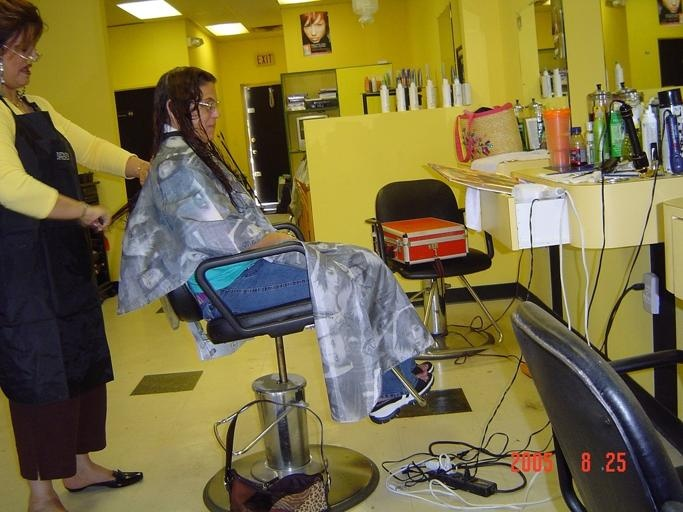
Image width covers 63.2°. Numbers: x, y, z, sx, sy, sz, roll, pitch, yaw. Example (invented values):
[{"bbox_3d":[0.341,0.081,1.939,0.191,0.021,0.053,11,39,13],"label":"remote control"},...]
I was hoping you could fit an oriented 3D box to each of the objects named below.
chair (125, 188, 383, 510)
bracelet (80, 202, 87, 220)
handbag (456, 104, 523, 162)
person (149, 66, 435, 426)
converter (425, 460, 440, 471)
[{"bbox_3d":[-0.213,0.402,2.732,1.033,1.696,1.036,-2,9,-3],"label":"chair"},{"bbox_3d":[-0.936,-0.163,2.008,0.033,0.062,0.058,-11,13,-24],"label":"bracelet"},{"bbox_3d":[0.917,-0.778,3.595,0.407,0.365,0.356,-17,4,3],"label":"handbag"},{"bbox_3d":[-0.037,-0.192,2.612,1.306,1.754,0.869,-6,9,-6],"label":"person"},{"bbox_3d":[0.362,0.806,2.153,0.036,0.018,0.046,-2,5,-16],"label":"converter"}]
